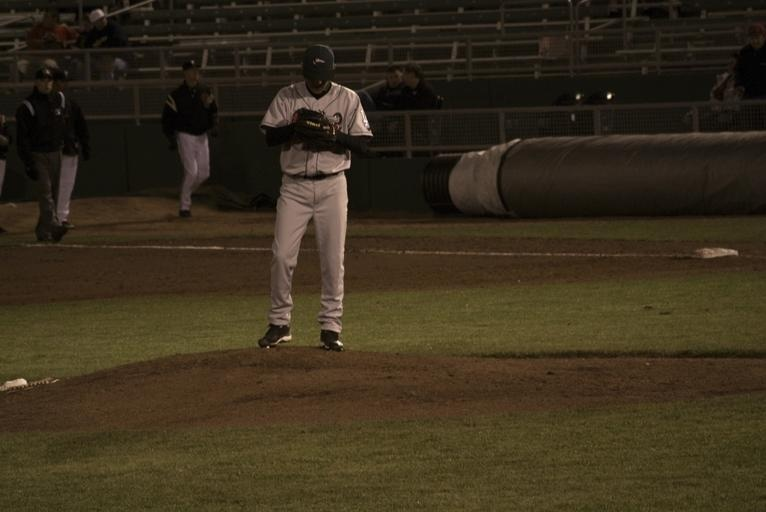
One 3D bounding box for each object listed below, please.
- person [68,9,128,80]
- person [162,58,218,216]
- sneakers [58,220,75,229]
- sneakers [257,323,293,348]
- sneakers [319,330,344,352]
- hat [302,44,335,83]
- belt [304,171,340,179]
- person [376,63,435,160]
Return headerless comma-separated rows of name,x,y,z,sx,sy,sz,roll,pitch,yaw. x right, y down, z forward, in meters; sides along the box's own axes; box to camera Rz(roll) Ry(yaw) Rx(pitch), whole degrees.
person,-6.263,-4.740,32.483,1.037,1.398,2.834,-5,13,-11
person,-3.553,-2.117,26.991,0.960,2.881,0.721,-3,13,-2
sneakers,-5.550,-0.539,25.664,0.194,0.148,0.487,-5,5,-24
sneakers,-1.397,1.008,18.571,0.196,0.246,0.501,6,9,37
sneakers,-0.607,1.068,18.477,0.149,0.234,0.425,-6,14,-43
hat,-0.823,-2.479,18.476,0.346,0.470,0.245,1,-29,0
belt,-0.794,-1.009,18.509,0.427,0.086,0.058,-3,13,-3
person,0.494,-2.997,29.278,1.184,1.680,0.755,-2,13,2
